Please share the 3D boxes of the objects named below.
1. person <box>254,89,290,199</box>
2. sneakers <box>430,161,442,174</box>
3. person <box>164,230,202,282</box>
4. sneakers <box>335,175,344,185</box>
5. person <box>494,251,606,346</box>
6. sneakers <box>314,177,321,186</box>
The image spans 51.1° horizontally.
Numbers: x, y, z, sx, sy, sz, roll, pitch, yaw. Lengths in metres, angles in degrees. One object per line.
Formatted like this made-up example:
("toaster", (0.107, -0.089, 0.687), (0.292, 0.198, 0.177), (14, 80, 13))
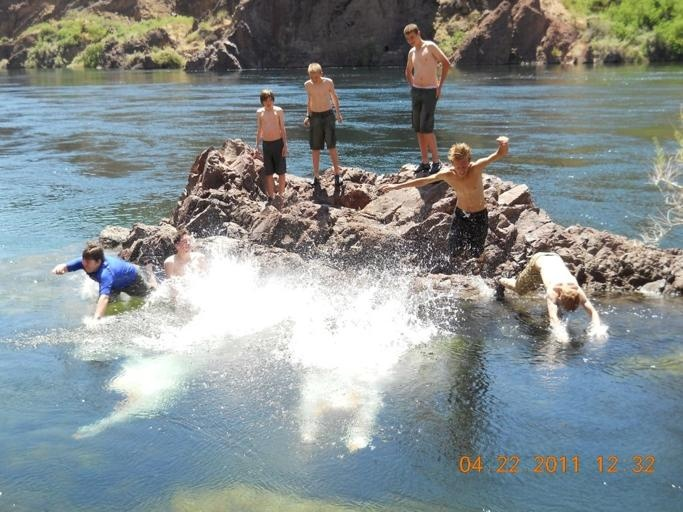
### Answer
("person", (-1.634, -2.599, 16.793), (0.632, 2.622, 1.091), (-3, 16, -7))
("sneakers", (2.066, -1.962, 15.804), (0.155, 0.187, 0.456), (0, 26, 22))
("person", (-3.208, 0.035, 14.409), (0.659, 1.419, 0.659), (-7, 15, -32))
("sneakers", (-0.051, -1.794, 16.785), (0.161, 0.229, 0.204), (4, 1, -3))
("person", (3.654, 0.859, 13.115), (0.923, 0.911, 2.183), (-18, 16, -33))
("sneakers", (-0.579, -1.757, 16.892), (0.166, 0.291, 0.165), (-2, -13, 3))
